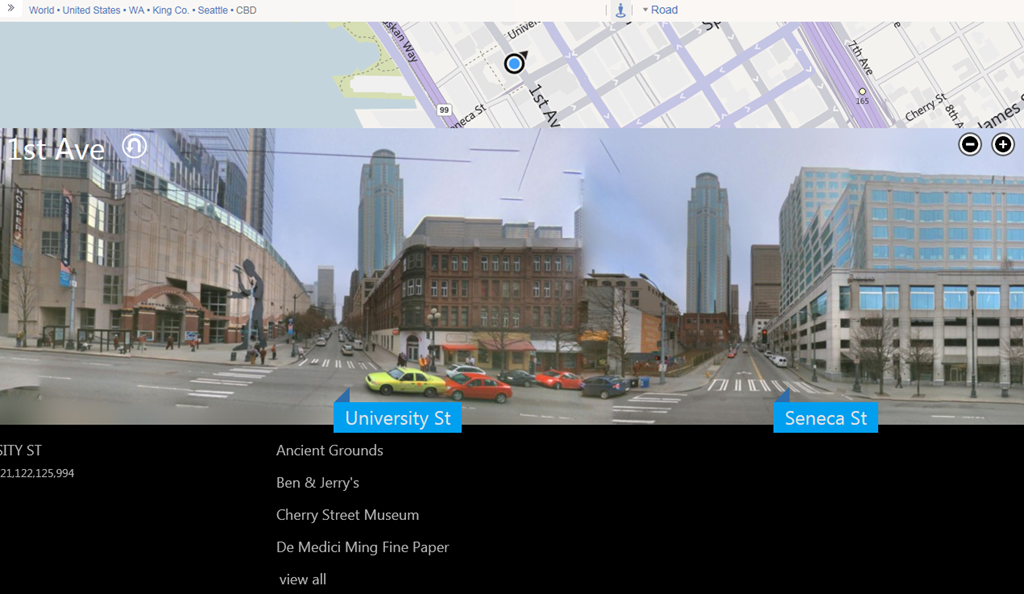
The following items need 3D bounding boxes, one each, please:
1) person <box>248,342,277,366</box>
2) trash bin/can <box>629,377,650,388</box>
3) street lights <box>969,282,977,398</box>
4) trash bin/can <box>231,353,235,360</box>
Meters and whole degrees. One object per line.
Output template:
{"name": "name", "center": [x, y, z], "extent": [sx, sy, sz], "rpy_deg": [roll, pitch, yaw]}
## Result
{"name": "person", "center": [-7.816, 1.818, 29.548], "extent": [1.032, 0.554, 0.994], "rpy_deg": [1, 7, -6]}
{"name": "trash bin/can", "center": [3.976, 2.684, 29.527], "extent": [0.637, 0.376, 0.286], "rpy_deg": [2, -7, 2]}
{"name": "street lights", "center": [14.076, 1.443, 29.024], "extent": [0.196, 3.266, 0.450], "rpy_deg": [0, -7, 26]}
{"name": "trash bin/can", "center": [-8.582, 1.880, 29.369], "extent": [0.178, 0.260, 0.139], "rpy_deg": [6, -7, -25]}
